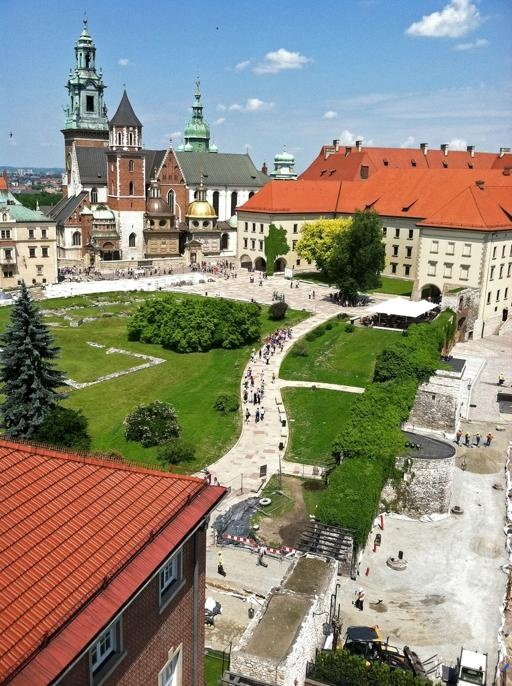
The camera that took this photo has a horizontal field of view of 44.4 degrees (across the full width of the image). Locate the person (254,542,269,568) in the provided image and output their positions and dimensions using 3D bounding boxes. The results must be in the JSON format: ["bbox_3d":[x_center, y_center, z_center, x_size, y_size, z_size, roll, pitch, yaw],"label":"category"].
[{"bbox_3d":[0.279,9.782,29.066,0.791,1.144,0.310,9,10,38],"label":"person"}]
